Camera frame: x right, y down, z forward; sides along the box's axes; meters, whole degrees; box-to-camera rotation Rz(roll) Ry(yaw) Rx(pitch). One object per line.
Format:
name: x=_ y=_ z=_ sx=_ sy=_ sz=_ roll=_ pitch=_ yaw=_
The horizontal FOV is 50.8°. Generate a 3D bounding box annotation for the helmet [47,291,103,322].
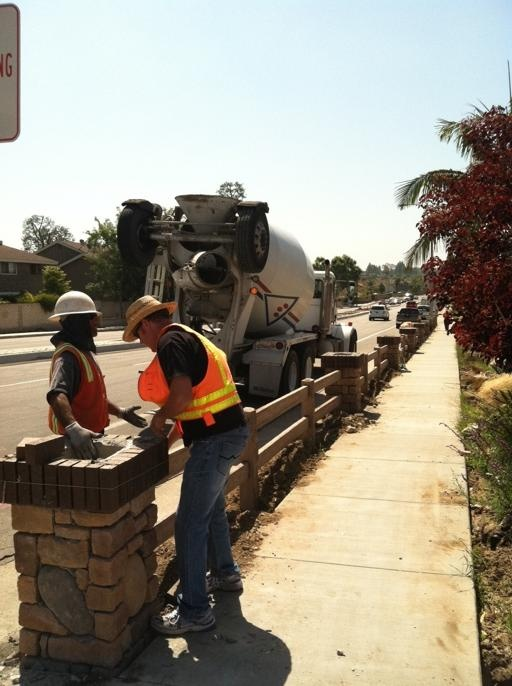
helmet: x=-1.089 y=-0.221 z=3.221 sx=0.249 sy=0.122 sz=0.231 roll=-4 pitch=4 yaw=11

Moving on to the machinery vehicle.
machinery vehicle: x=-0.350 y=-1.158 z=11.900 sx=2.347 sy=3.152 sz=6.384 roll=4 pitch=2 yaw=25

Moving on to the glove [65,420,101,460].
glove: x=-0.841 y=0.469 z=2.627 sx=0.077 sy=0.196 sz=0.145 roll=-34 pitch=-2 yaw=-18

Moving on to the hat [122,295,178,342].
hat: x=-0.611 y=-0.162 z=2.819 sx=0.284 sy=0.109 sz=0.242 roll=-42 pitch=-11 yaw=-9

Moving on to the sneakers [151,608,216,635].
sneakers: x=-0.362 y=1.377 z=2.695 sx=0.296 sy=0.140 sz=0.120 roll=4 pitch=-5 yaw=0

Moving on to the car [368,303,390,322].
car: x=11.558 y=-2.862 z=50.240 sx=1.158 sy=1.071 sz=2.499 roll=1 pitch=11 yaw=18

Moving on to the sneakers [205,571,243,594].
sneakers: x=-0.184 y=1.390 z=3.152 sx=0.261 sy=0.120 sz=0.096 roll=5 pitch=1 yaw=2

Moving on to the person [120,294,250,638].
person: x=-0.316 y=0.590 z=2.744 sx=0.640 sy=1.676 sz=0.586 roll=-3 pitch=3 yaw=-15
